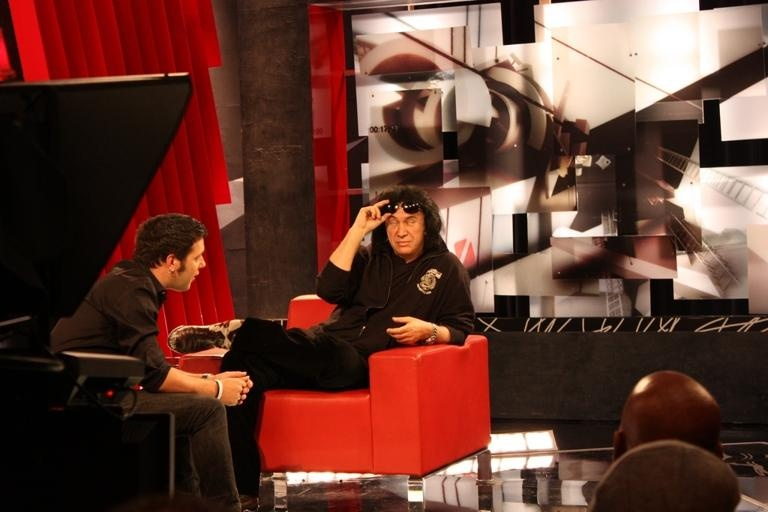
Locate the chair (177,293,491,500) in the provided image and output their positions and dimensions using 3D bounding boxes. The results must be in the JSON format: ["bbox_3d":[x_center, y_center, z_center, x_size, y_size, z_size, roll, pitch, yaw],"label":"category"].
[{"bbox_3d":[-0.213,0.639,3.632,1.248,0.838,0.892,-5,-6,27],"label":"chair"}]

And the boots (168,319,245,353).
[{"bbox_3d":[-0.892,0.449,3.538,0.411,0.178,0.136,-12,-35,32],"label":"boots"}]

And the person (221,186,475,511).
[{"bbox_3d":[-0.221,0.391,3.444,1.252,1.552,0.808,9,-1,-37],"label":"person"}]

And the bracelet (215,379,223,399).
[{"bbox_3d":[-0.688,0.567,2.945,0.023,0.065,0.047,2,3,-14],"label":"bracelet"}]

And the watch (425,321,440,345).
[{"bbox_3d":[0.228,0.377,3.329,0.085,0.095,0.061,-3,6,-42],"label":"watch"}]
